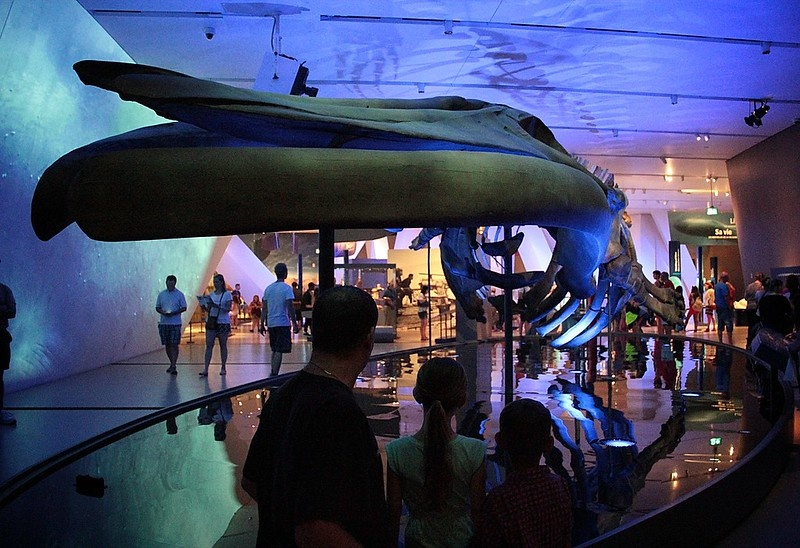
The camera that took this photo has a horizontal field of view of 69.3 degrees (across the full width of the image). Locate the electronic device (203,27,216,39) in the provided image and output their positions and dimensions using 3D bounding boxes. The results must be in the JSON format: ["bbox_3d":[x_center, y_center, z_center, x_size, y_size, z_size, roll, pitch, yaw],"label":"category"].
[{"bbox_3d":[-3.062,-3.860,9.260,0.127,0.109,0.130,0,-1,2],"label":"electronic device"}]

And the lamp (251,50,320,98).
[{"bbox_3d":[-1.717,-3.080,8.840,0.937,0.814,0.512,23,37,39],"label":"lamp"}]

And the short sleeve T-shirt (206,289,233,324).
[{"bbox_3d":[-3.017,0.495,9.521,0.473,0.541,0.391,8,2,-1],"label":"short sleeve T-shirt"}]

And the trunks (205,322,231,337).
[{"bbox_3d":[-2.946,0.890,9.344,0.311,0.145,0.226,-7,-11,29],"label":"trunks"}]
